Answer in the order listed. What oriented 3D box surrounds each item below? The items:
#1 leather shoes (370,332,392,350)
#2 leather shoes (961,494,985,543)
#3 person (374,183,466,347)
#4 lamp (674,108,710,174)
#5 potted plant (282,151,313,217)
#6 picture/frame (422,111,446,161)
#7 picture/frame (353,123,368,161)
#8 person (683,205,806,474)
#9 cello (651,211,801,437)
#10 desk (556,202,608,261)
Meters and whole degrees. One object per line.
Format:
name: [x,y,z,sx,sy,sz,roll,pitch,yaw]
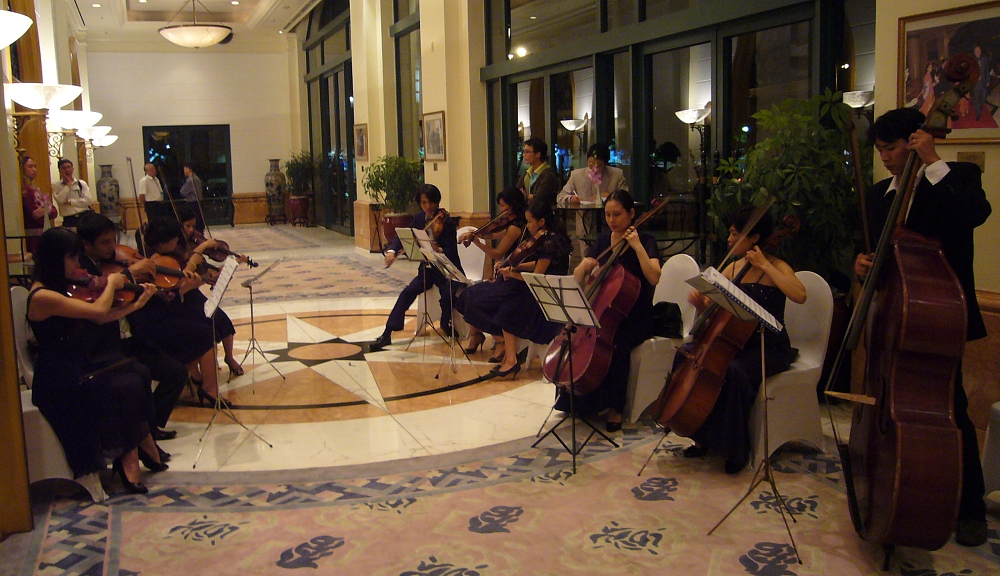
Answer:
leather shoes: [-1.330,0.539,8.398,0.233,0.241,0.255,-5,13,-10]
leather shoes: [3.171,1.523,5.081,0.103,0.215,0.233,-5,8,-9]
person: [-0.894,-0.234,8.424,0.928,1.689,1.225,19,29,40]
lamp: [2.247,-1.719,8.722,0.315,0.815,0.823,-2,13,3]
potted plant: [-5.502,-2.797,21.062,0.752,1.881,0.662,-7,14,-16]
picture/frame: [-1.085,-2.571,12.688,0.065,0.863,0.933,-3,6,-26]
picture/frame: [-2.872,-3.022,15.629,0.020,0.782,0.825,-5,11,-29]
person: [1.882,0.438,5.842,0.659,1.985,0.984,14,17,2]
cello: [1.578,0.239,5.676,0.940,1.728,0.555,-8,14,-20]
desk: [1.074,-0.780,9.842,0.786,0.822,0.860,-1,15,1]
